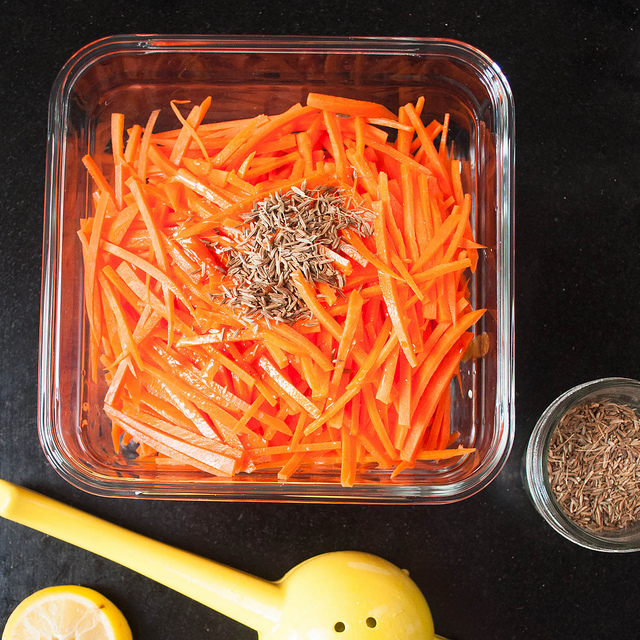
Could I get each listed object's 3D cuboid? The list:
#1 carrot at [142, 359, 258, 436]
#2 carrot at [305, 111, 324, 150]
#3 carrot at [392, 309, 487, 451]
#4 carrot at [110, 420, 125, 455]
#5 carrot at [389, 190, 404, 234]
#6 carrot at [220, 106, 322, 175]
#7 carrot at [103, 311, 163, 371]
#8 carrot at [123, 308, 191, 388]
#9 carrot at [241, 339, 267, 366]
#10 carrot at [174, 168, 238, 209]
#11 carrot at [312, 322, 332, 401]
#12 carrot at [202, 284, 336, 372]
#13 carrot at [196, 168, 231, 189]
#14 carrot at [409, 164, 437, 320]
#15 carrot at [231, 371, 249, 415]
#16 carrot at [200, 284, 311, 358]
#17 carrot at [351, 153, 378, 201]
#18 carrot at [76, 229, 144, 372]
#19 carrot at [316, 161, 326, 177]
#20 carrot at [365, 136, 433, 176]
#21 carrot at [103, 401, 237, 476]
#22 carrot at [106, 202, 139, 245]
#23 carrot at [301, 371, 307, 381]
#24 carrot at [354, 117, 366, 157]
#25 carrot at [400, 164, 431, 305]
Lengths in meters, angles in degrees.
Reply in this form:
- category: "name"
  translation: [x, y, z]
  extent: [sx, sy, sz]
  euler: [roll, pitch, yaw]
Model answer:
- category: "carrot"
  translation: [-0.224, 0.146, 1.423]
  extent: [0.196, 0.029, 0.016]
  euler: [39, 87, 2]
- category: "carrot"
  translation: [-0.010, -0.382, 1.447]
  extent: [0.019, 0.024, 0.097]
  euler: [9, 105, -6]
- category: "carrot"
  translation: [0.264, 0.065, 1.489]
  extent: [0.110, 0.625, 0.065]
  euler: [48, 122, -4]
- category: "carrot"
  translation: [-0.404, 0.234, 1.483]
  extent: [0.016, 0.018, 0.073]
  euler: [-1, 103, 3]
- category: "carrot"
  translation: [0.149, -0.209, 1.421]
  extent: [0.017, 0.012, 0.097]
  euler: [-7, 92, -15]
- category: "carrot"
  translation: [-0.090, -0.348, 1.436]
  extent: [0.160, 0.062, 0.032]
  euler: [-40, 120, -7]
- category: "carrot"
  translation: [-0.355, 0.040, 1.420]
  extent: [0.022, 0.020, 0.122]
  euler: [32, 89, -2]
- category: "carrot"
  translation: [-0.308, 0.052, 1.416]
  extent: [0.025, 0.013, 0.176]
  euler: [-37, 90, 20]
- category: "carrot"
  translation: [-0.124, 0.059, 1.411]
  extent: [0.059, 0.015, 0.032]
  euler: [-42, 86, 9]
- category: "carrot"
  translation: [-0.211, -0.254, 1.403]
  extent: [0.097, 0.017, 0.027]
  euler: [41, 73, 12]
- category: "carrot"
  translation: [0.004, 0.076, 1.382]
  extent: [0.024, 0.106, 0.116]
  euler: [4, 70, -11]
- category: "carrot"
  translation: [-0.091, 0.007, 1.375]
  extent: [0.218, 0.031, 0.040]
  euler: [40, 91, 3]
- category: "carrot"
  translation: [-0.198, -0.265, 1.406]
  extent: [0.054, 0.014, 0.037]
  euler: [3, 87, 22]
- category: "carrot"
  translation: [0.198, -0.156, 1.447]
  extent: [0.043, 0.041, 0.305]
  euler: [-9, 85, 10]
- category: "carrot"
  translation: [-0.151, 0.132, 1.423]
  extent: [0.020, 0.027, 0.103]
  euler: [-14, 90, -2]
- category: "carrot"
  translation: [-0.116, -0.006, 1.372]
  extent: [0.177, 0.026, 0.026]
  euler: [41, 99, 3]
- category: "carrot"
  translation: [0.089, -0.278, 1.403]
  extent: [0.026, 0.019, 0.112]
  euler: [-25, 87, 7]
- category: "carrot"
  translation: [-0.398, -0.047, 1.428]
  extent: [0.033, 0.020, 0.283]
  euler: [-16, 93, 41]
- category: "carrot"
  translation: [0.003, -0.289, 1.401]
  extent: [0.015, 0.008, 0.031]
  euler: [0, 78, -3]
- category: "carrot"
  translation: [0.153, -0.324, 1.452]
  extent: [0.114, 0.028, 0.020]
  euler: [38, 90, 22]
- category: "carrot"
  translation: [-0.281, 0.230, 1.443]
  extent: [0.207, 0.032, 0.050]
  euler: [35, 101, 4]
- category: "carrot"
  translation: [-0.391, -0.177, 1.426]
  extent: [0.030, 0.140, 0.051]
  euler: [5, 123, 7]
- category: "carrot"
  translation: [-0.030, 0.107, 1.398]
  extent: [0.011, 0.013, 0.015]
  euler: [-1, 88, 2]
- category: "carrot"
  translation: [0.080, -0.360, 1.435]
  extent: [0.017, 0.016, 0.077]
  euler: [-2, 87, -2]
- category: "carrot"
  translation: [0.182, -0.155, 1.406]
  extent: [0.036, 0.039, 0.307]
  euler: [-2, 88, -9]
